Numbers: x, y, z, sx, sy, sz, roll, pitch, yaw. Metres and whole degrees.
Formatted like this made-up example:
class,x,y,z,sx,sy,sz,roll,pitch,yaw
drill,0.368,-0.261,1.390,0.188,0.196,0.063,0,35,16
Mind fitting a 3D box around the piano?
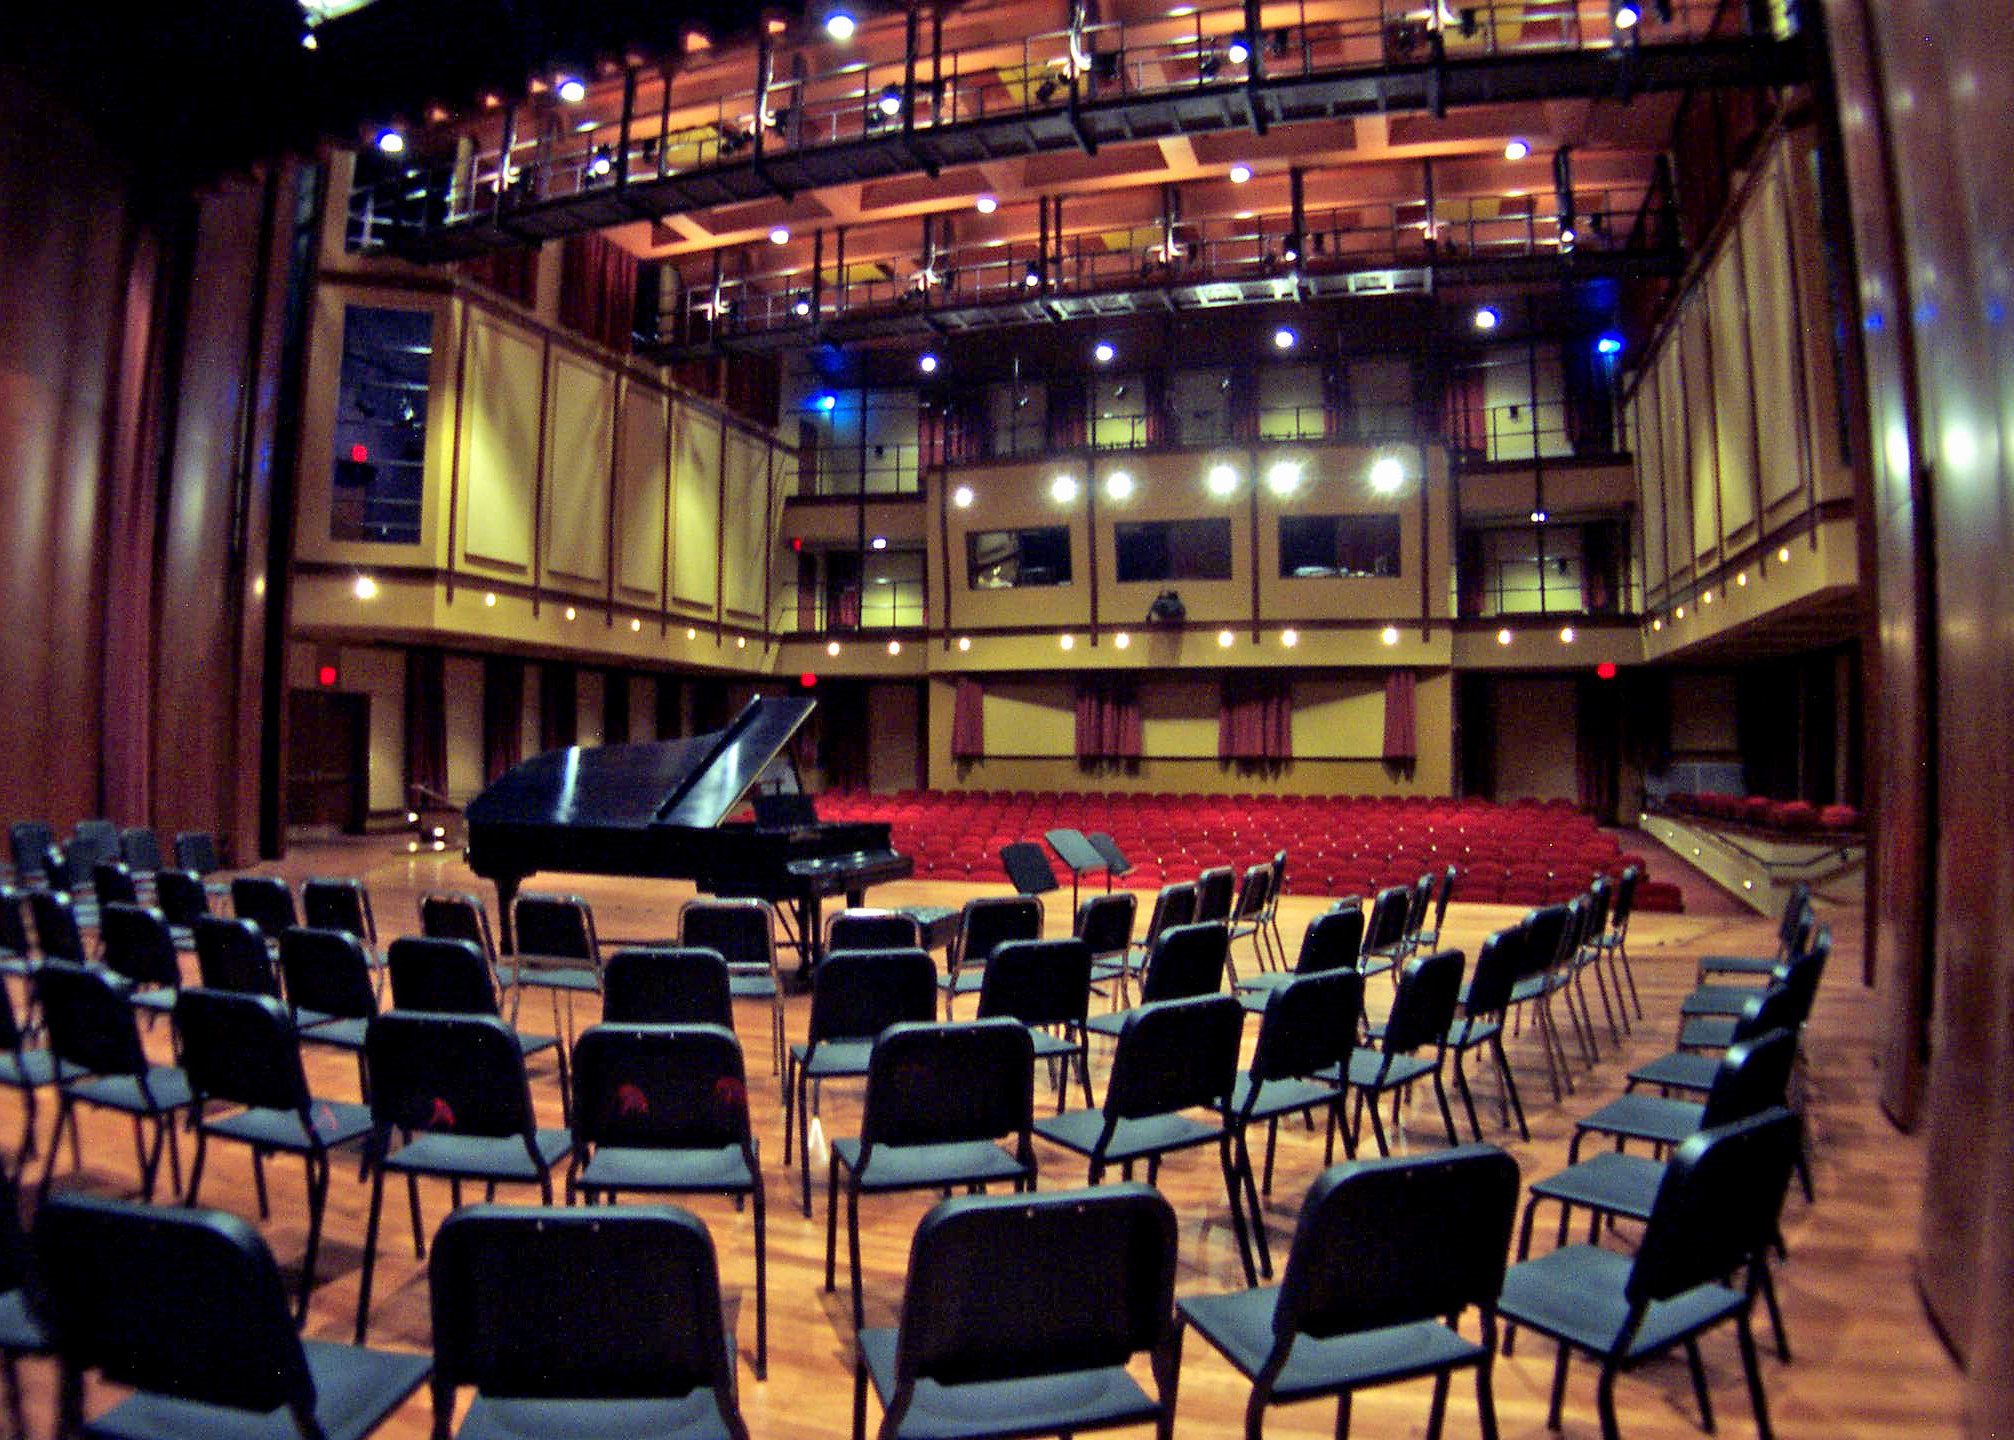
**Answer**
class,x,y,z,sx,sy,sz,roll,pitch,yaw
piano,-2.302,0.726,13.430,2.819,1.962,1.772,-3,-1,23
